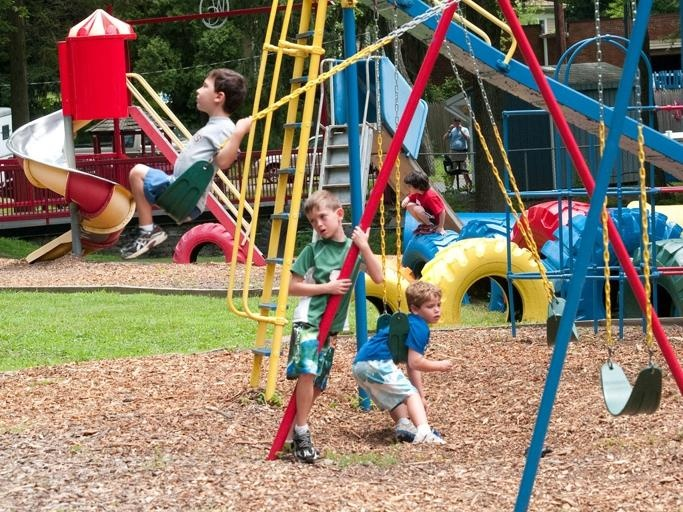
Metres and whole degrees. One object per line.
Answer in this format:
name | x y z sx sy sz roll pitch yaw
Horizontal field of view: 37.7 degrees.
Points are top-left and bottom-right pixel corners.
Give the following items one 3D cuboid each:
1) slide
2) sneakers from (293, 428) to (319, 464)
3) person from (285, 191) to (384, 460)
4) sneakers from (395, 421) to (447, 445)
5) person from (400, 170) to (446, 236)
slide | -4.171 -1.075 15.411 1.645 2.417 3.011 -3 9 -22
sneakers | -0.231 1.213 6.552 0.105 0.127 0.278 -9 28 -19
person | -0.142 0.431 6.628 0.439 1.728 0.561 0 8 -2
sneakers | 0.545 1.210 6.949 0.358 0.154 0.133 0 1 12
person | 1.105 -0.709 12.571 0.688 1.000 0.759 0 -6 -6
